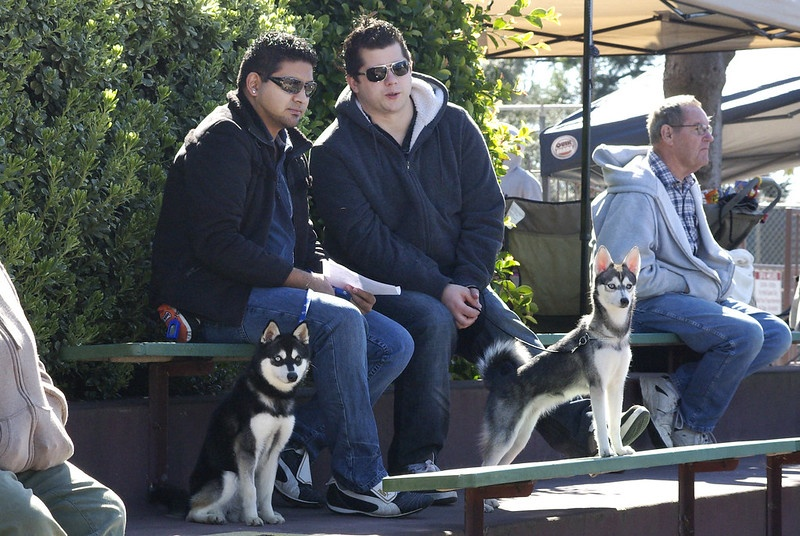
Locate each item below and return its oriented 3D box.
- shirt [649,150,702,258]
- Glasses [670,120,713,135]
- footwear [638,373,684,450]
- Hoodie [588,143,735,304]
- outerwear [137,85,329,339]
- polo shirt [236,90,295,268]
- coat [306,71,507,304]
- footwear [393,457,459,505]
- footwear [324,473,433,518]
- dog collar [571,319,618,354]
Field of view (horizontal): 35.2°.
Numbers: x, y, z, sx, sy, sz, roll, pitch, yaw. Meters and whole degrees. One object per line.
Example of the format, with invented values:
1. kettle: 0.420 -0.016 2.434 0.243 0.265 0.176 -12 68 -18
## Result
1. shirt: 2.346 -0.565 10.769 0.536 0.763 0.305 -15 -11 -35
2. Glasses: 2.463 -1.188 10.623 0.221 0.071 0.224 0 -1 3
3. footwear: 2.113 1.150 10.306 0.276 0.718 0.232 0 -9 9
4. Hoodie: 2.230 -0.380 10.773 1.220 1.372 1.362 1 3 33
5. outerwear: -1.360 -0.293 9.549 1.422 1.846 1.442 -3 -10 25
6. polo shirt: -0.901 -0.556 9.169 0.303 1.426 0.353 27 45 27
7. coat: 0.151 -0.641 9.791 1.247 1.707 1.590 -22 14 -17
8. footwear: 0.225 1.525 8.943 0.556 0.427 0.196 0 3 -7
9. footwear: -0.166 1.564 8.807 0.781 0.356 0.290 3 -2 -1
10. dog collar: 1.267 0.478 8.490 0.356 0.099 0.109 -5 18 26
